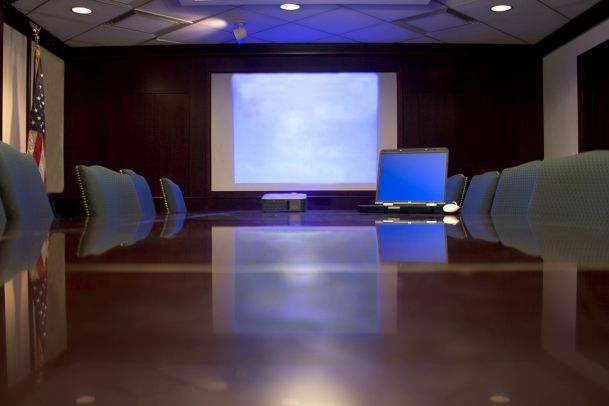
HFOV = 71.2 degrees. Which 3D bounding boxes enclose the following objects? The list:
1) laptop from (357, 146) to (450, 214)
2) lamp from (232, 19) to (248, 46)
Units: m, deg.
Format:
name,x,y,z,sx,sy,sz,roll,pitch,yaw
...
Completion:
name,x,y,z,sx,sy,sz,roll,pitch,yaw
laptop,0.380,-0.100,1.645,0.296,0.333,0.266,0,-18,22
lamp,-0.582,-1.528,3.824,0.094,0.162,0.164,1,-5,-9
